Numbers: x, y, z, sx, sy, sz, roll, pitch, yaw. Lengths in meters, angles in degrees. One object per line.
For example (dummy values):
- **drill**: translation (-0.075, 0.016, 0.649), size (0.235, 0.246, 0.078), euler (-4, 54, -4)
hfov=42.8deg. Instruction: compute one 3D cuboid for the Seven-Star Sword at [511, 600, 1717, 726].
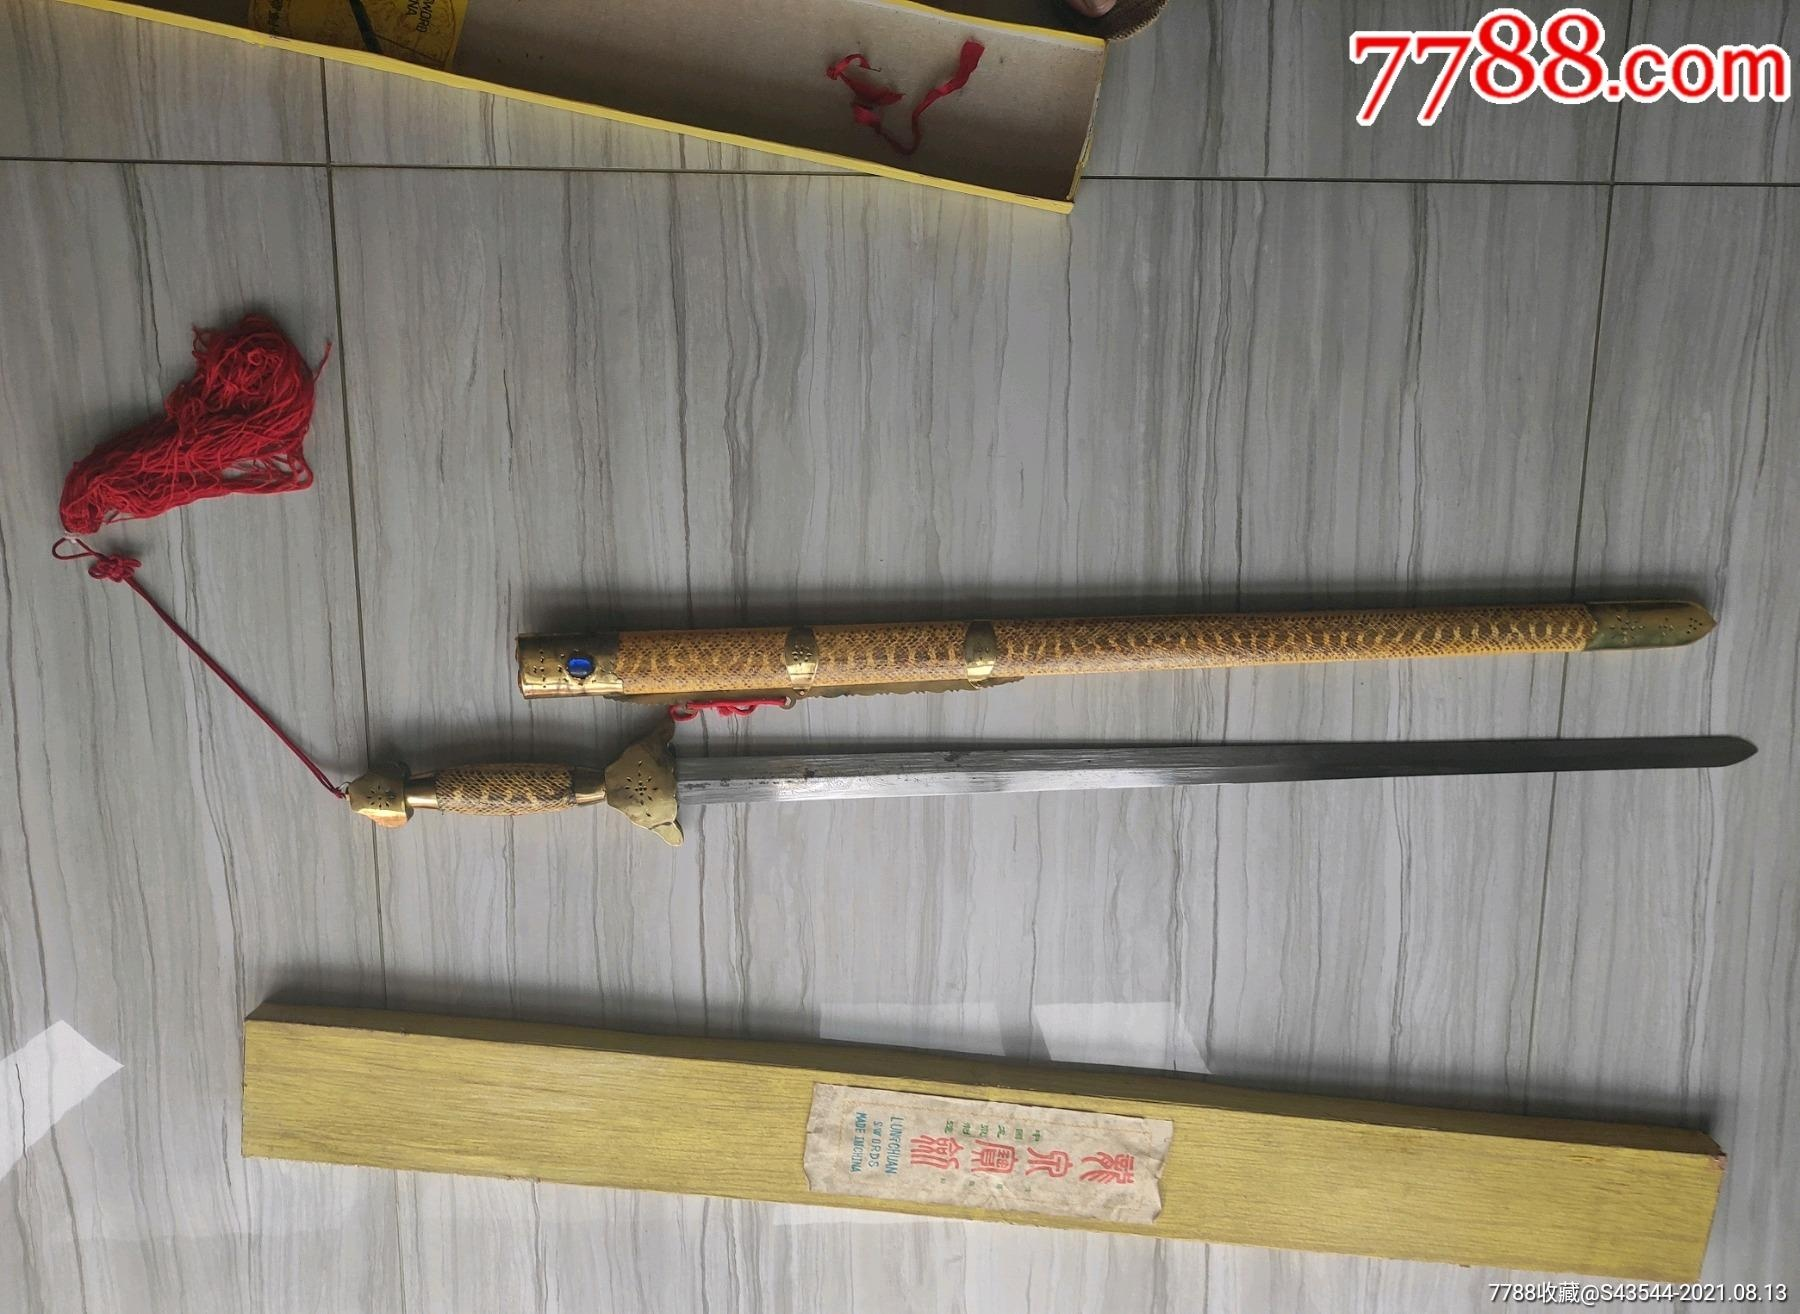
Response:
- **Seven-Star Sword**: translation (0.256, -0.001, 3.647), size (2.043, 0.196, 0.132), euler (0, -95, -1)
